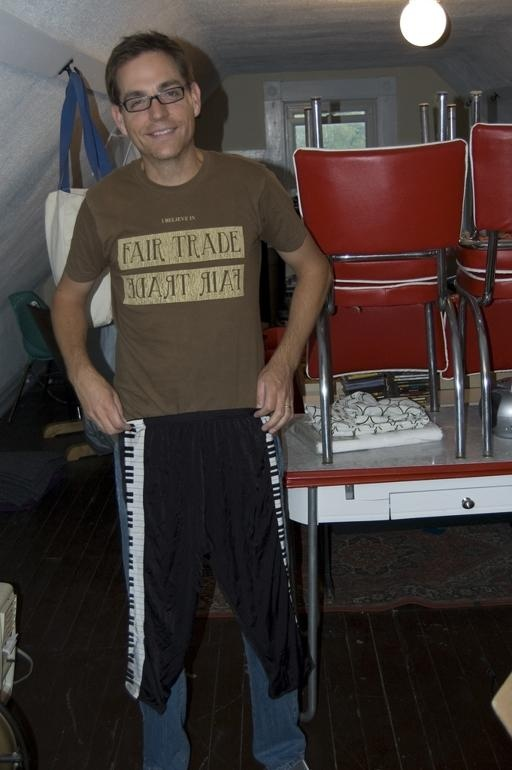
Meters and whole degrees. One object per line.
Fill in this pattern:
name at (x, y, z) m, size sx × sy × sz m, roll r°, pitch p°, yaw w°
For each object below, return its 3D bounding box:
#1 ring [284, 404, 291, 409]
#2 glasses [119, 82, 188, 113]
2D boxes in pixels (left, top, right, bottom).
ring at (0.054, 0.039, 1.036) m, size 0.008 × 0.002 × 0.008 m, roll 6°, pitch 17°, yaw -2°
glasses at (-0.167, -0.471, 0.973) m, size 0.108 × 0.044 × 0.048 m, roll -7°, pitch 17°, yaw -9°
